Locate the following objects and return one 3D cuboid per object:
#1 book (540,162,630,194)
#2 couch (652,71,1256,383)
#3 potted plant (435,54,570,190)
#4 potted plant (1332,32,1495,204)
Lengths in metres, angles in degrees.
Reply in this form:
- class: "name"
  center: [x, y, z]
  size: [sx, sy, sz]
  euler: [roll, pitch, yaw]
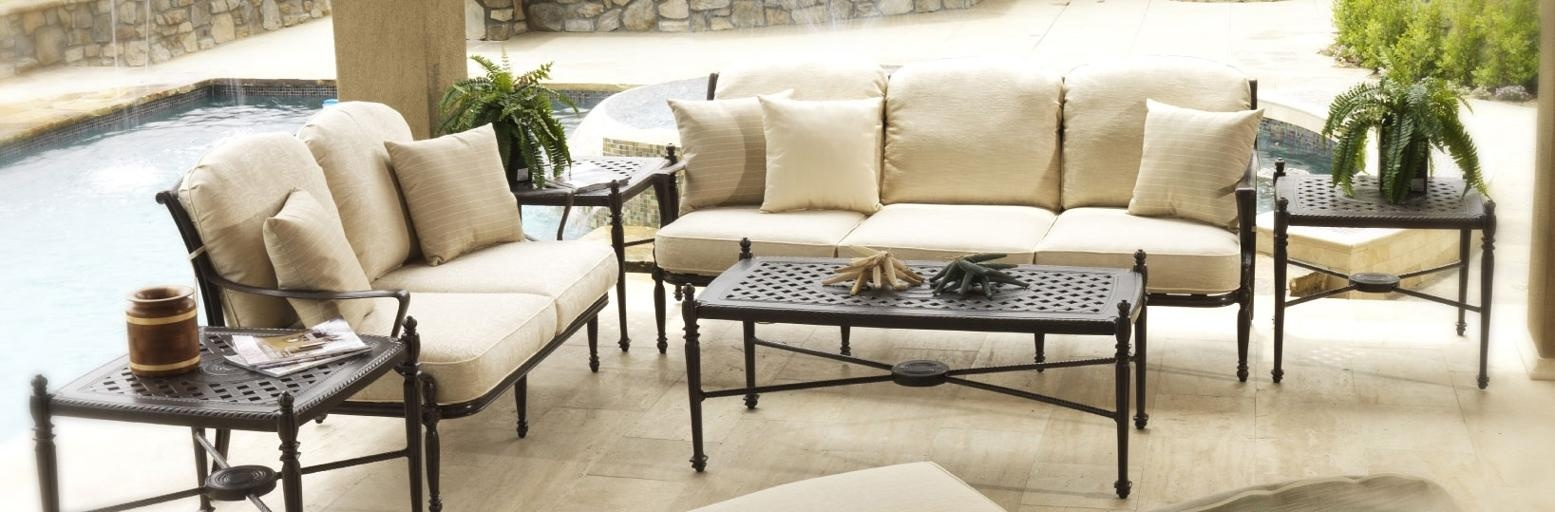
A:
- class: "book"
  center: [-1.993, -0.777, 9.890]
  size: [0.619, 0.088, 0.448]
  euler: [1, 25, 12]
- class: "couch"
  center: [1.857, -0.223, 9.659]
  size: [5.566, 1.590, 1.602]
  euler: [0, 24, 5]
- class: "potted plant"
  center: [-2.747, -1.386, 10.434]
  size: [2.113, 1.079, 1.556]
  euler: [0, -1, -3]
- class: "potted plant"
  center: [6.000, -1.246, 9.449]
  size: [1.434, 1.457, 0.942]
  euler: [-1, 29, 11]
